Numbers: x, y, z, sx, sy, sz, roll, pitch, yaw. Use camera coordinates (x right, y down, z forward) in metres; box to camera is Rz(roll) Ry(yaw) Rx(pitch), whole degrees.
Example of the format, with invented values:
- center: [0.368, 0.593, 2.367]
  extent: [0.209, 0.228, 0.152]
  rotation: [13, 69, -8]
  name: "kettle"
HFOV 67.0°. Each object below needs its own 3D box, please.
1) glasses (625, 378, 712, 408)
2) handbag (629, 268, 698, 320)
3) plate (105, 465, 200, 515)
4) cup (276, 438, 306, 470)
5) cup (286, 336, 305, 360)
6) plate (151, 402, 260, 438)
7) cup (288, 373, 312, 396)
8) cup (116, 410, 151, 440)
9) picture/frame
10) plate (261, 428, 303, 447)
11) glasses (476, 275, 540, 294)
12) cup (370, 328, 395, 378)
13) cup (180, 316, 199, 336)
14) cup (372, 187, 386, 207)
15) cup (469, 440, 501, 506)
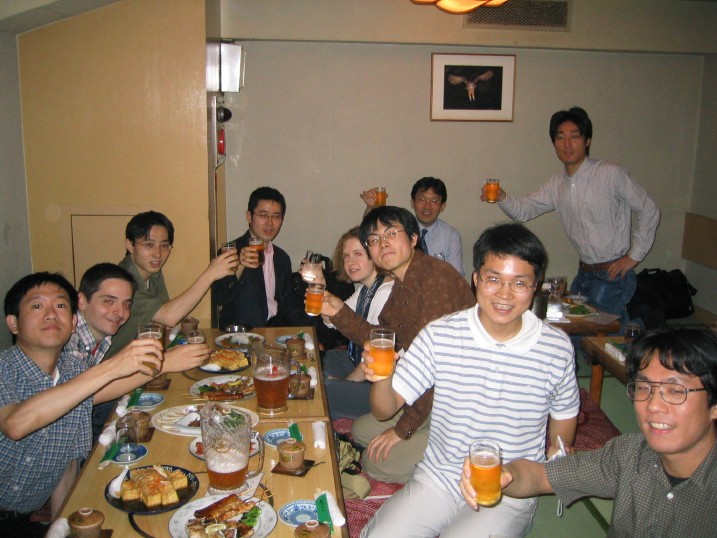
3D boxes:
- center: [1.048, 0.427, 1.850]
  extent: [0.234, 0.100, 0.075]
  rotation: [7, 12, 34]
  name: "glasses"
- center: [3.117, 0.279, 5.566]
  extent: [0.503, 0.235, 0.646]
  rotation: [-18, 30, -33]
  name: "handbag"
- center: [-0.693, 0.798, 1.893]
  extent: [0.177, 0.032, 0.174]
  rotation: [0, 14, -41]
  name: "plate"
- center: [-0.256, 0.716, 2.109]
  extent: [0.099, 0.092, 0.101]
  rotation: [0, 15, 0]
  name: "cup"
- center: [-0.345, 0.437, 2.978]
  extent: [0.101, 0.077, 0.106]
  rotation: [1, 4, 0]
  name: "cup"
- center: [-0.732, 0.651, 2.348]
  extent: [0.252, 0.031, 0.261]
  rotation: [1, 11, -27]
  name: "plate"
- center: [-0.275, 0.555, 2.563]
  extent: [0.104, 0.081, 0.105]
  rotation: [0, -2, 0]
  name: "cup"
- center: [-0.898, 0.635, 2.216]
  extent: [0.128, 0.127, 0.090]
  rotation: [5, 4, -3]
  name: "cup"
- center: [1.195, -1.977, 5.745]
  extent: [0.694, 0.513, 0.025]
  rotation: [1, 10, -2]
  name: "picture/frame"
- center: [-0.335, 0.696, 2.235]
  extent: [0.077, 0.017, 0.078]
  rotation: [8, 17, 16]
  name: "plate"
- center: [0.603, 0.060, 2.192]
  extent: [0.227, 0.067, 0.070]
  rotation: [2, 10, 7]
  name: "glasses"
- center: [0.092, 0.345, 2.189]
  extent: [0.101, 0.218, 0.096]
  rotation: [1, 10, 0]
  name: "cup"
- center: [-0.956, 0.331, 3.072]
  extent: [0.115, 0.121, 0.116]
  rotation: [4, 8, -1]
  name: "cup"
- center: [0.194, -0.662, 4.955]
  extent: [0.115, 0.162, 0.319]
  rotation: [1, 9, 1]
  name: "cup"
- center: [0.442, 0.713, 1.889]
  extent: [0.116, 0.226, 0.070]
  rotation: [2, 10, 8]
  name: "cup"
